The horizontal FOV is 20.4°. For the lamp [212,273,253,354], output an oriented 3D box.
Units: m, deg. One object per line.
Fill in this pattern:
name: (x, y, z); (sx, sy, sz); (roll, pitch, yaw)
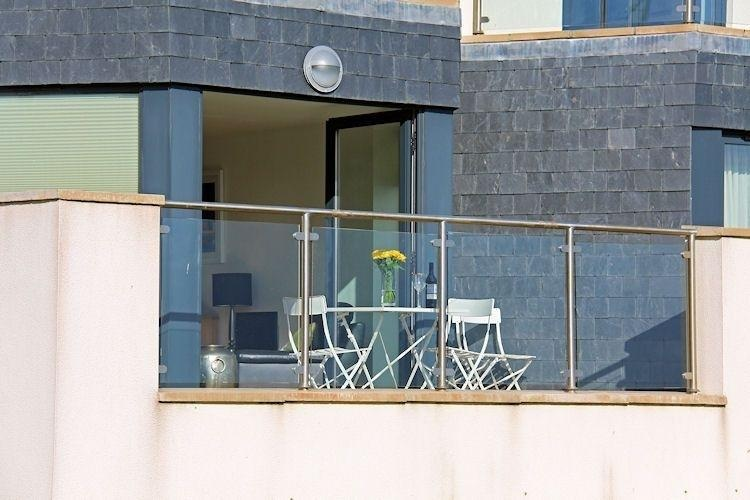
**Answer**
lamp: (-1.301, 0.510, 19.065); (0.360, 0.664, 0.129); (1, -5, -5)

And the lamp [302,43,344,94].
lamp: (-0.532, -1.852, 21.134); (0.405, 0.458, 0.126); (4, 0, -24)

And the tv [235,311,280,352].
tv: (-1.066, 0.694, 18.996); (0.335, 0.358, 0.083); (2, 0, -2)

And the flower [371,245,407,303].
flower: (0.117, 0.236, 19.512); (0.317, 0.536, 0.325); (-3, -5, 27)
